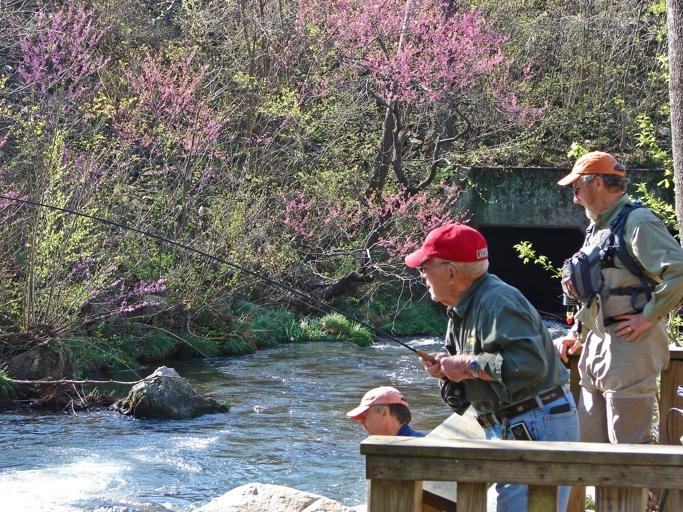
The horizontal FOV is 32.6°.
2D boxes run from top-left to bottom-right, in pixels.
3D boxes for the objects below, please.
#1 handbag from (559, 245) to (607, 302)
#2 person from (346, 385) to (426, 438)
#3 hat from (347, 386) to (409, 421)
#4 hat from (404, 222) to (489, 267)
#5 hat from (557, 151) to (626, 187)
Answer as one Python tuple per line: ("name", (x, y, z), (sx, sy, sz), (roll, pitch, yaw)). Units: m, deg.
("handbag", (2.535, 0.166, 12.253), (0.395, 0.574, 0.420), (0, 0, 27))
("person", (0.459, 1.622, 12.517), (0.705, 0.547, 0.751), (3, 1, 1))
("hat", (0.371, 1.545, 12.614), (0.615, 0.352, 0.689), (1, 1, -6))
("hat", (1.078, -0.124, 11.488), (0.662, 0.411, 0.431), (6, 4, 29))
("hat", (2.663, -0.938, 12.431), (0.522, 0.267, 0.353), (-1, -4, 10))
